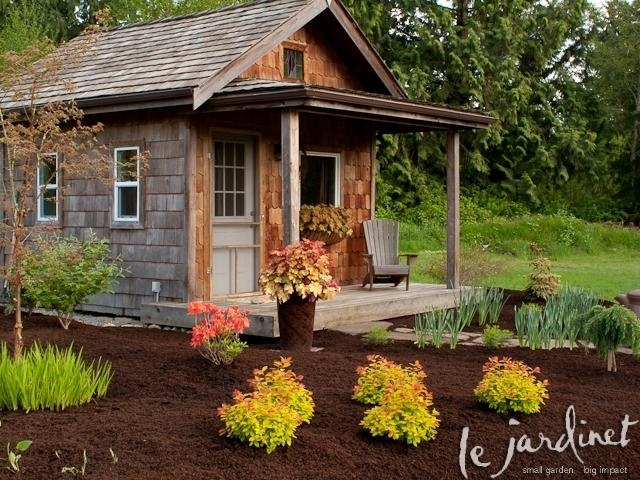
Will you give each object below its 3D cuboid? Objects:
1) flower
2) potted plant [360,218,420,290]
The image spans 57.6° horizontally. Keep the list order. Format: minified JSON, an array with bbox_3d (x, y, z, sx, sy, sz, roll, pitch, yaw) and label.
[{"bbox_3d":[-1.126,0.893,6.126,0.703,0.800,0.678,-1,-17,5],"label":"flower"},{"bbox_3d":[1.290,0.269,11.064,0.917,1.365,1.290,0,1,-11],"label":"potted plant"}]
